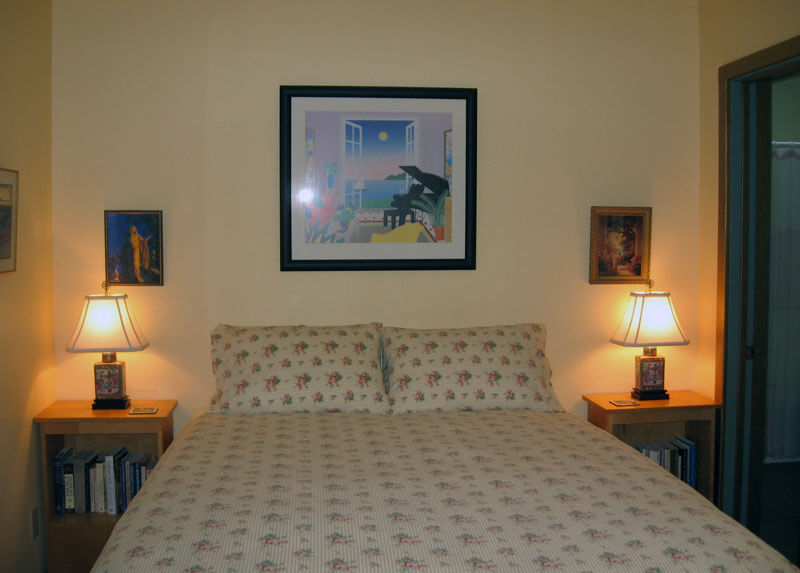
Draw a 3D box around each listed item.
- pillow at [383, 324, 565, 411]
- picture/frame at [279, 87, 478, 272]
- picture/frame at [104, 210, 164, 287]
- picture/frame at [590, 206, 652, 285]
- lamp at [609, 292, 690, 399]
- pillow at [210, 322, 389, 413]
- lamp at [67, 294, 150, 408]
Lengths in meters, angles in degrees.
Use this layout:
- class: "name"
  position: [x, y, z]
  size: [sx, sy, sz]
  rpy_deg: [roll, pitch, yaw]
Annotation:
- class: "pillow"
  position: [0.370, 0.470, 3.600]
  size: [0.806, 0.480, 0.217]
  rpy_deg: [-4, -12, -1]
- class: "picture/frame"
  position: [-0.183, -0.706, 3.824]
  size: [1.162, 1.015, 0.077]
  rpy_deg: [0, 2, -8]
- class: "picture/frame"
  position: [-1.607, -0.234, 3.738]
  size: [0.321, 0.438, 0.051]
  rpy_deg: [0, 4, -11]
- class: "picture/frame"
  position: [1.384, -0.281, 3.940]
  size: [0.504, 0.594, 0.044]
  rpy_deg: [-1, 5, -8]
- class: "lamp"
  position: [1.535, 0.337, 3.887]
  size: [0.431, 0.697, 0.328]
  rpy_deg: [1, 4, 10]
- class: "pillow"
  position: [-0.574, 0.428, 3.463]
  size: [0.841, 0.473, 0.225]
  rpy_deg: [1, -30, -6]
- class: "lamp"
  position: [-1.707, 0.349, 3.637]
  size: [0.408, 0.698, 0.284]
  rpy_deg: [-1, 4, -25]
